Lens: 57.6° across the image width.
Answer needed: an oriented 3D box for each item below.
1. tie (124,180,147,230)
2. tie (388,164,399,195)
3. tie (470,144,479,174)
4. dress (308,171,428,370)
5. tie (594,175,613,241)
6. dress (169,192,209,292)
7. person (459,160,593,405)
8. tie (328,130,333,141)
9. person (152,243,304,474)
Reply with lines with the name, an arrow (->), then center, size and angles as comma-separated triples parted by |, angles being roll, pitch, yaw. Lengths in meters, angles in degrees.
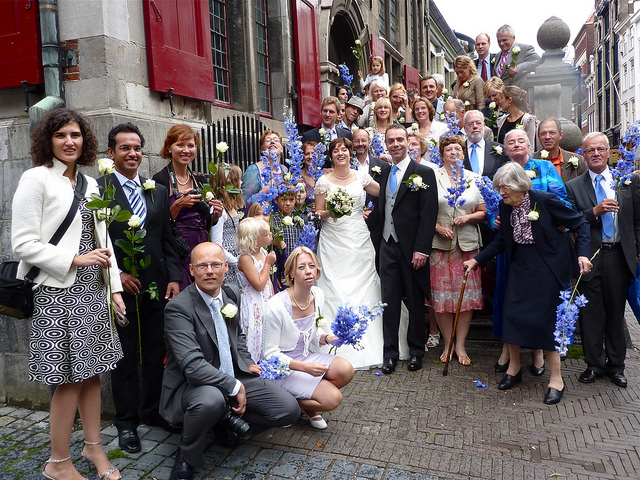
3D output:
tie -> -1.696, -0.326, 5.368 | 0.167, 0.453, 0.081 | -10, -13, -37
tie -> 0.860, -0.722, 6.943 | 0.103, 0.317, 0.152 | -12, 17, -37
tie -> 1.967, -1.031, 7.421 | 0.074, 0.403, 0.061 | 2, -6, 19
dress -> 0.489, 0.332, 7.032 | 1.156, 2.234, 1.037 | 0, 14, 5
tie -> 3.109, -0.362, 6.406 | 0.125, 0.676, 0.273 | -4, 14, -8
dress -> -1.363, 0.010, 5.865 | 0.386, 0.923, 0.431 | -5, 15, -37
person -> 2.237, 0.409, 6.152 | 1.077, 2.415, 0.947 | 6, 16, 29
tie -> 0.147, -1.489, 8.272 | 0.031, 0.111, 0.082 | 2, 8, -11
person -> -0.865, 0.992, 4.973 | 1.051, 1.853, 0.749 | -6, 14, -18
